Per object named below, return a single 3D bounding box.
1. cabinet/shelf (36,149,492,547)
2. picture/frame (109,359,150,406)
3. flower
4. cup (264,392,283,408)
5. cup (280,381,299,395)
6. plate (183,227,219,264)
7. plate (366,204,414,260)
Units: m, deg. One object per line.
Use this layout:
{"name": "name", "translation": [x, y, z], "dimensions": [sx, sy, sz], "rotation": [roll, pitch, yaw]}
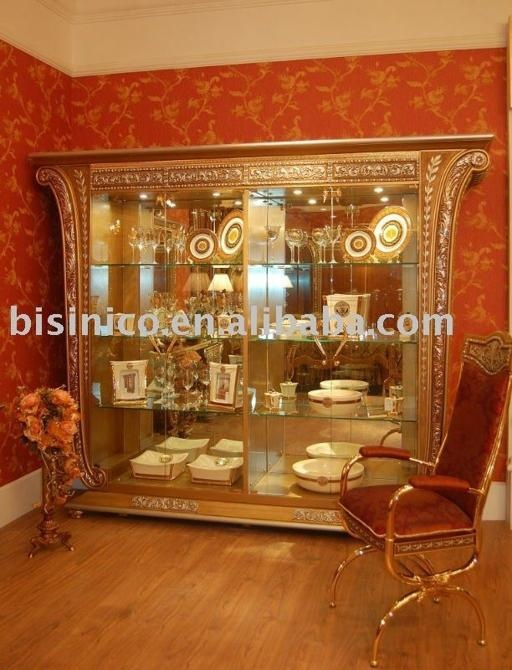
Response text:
{"name": "cabinet/shelf", "translation": [0.086, 0.049, 2.820], "dimensions": [1.945, 1.717, 0.698], "rotation": [1, 3, 13]}
{"name": "picture/frame", "translation": [-0.712, 0.266, 3.130], "dimensions": [0.247, 0.289, 0.023], "rotation": [-1, -1, -12]}
{"name": "flower", "translation": [-0.949, 0.536, 2.764], "dimensions": [0.254, 0.565, 0.468], "rotation": [0, 1, 9]}
{"name": "cup", "translation": [0.094, 0.342, 3.001], "dimensions": [0.093, 0.084, 0.062], "rotation": [-1, -1, 14]}
{"name": "cup", "translation": [0.182, 0.271, 2.985], "dimensions": [0.074, 0.055, 0.074], "rotation": [0, 1, 0]}
{"name": "plate", "translation": [-0.301, -0.489, 3.075], "dimensions": [0.163, 0.167, 0.043], "rotation": [-1, 1, 25]}
{"name": "plate", "translation": [0.667, -0.507, 2.797], "dimensions": [0.210, 0.248, 0.024], "rotation": [1, 1, 36]}
